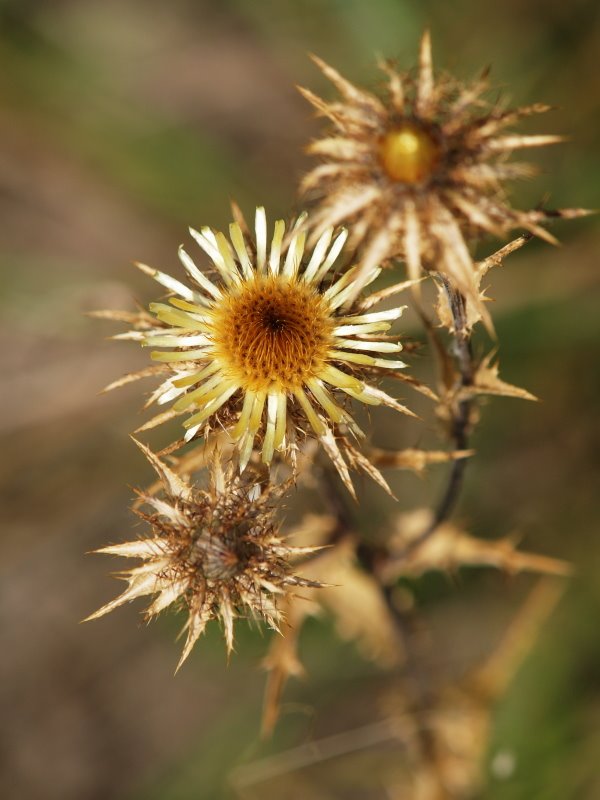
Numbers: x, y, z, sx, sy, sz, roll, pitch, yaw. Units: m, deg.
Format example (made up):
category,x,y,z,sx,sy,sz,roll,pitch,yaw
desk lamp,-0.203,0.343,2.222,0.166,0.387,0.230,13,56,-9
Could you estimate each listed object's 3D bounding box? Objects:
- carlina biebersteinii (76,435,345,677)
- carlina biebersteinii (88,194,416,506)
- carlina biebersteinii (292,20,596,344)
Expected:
category,x,y,z,sx,sy,sz,roll,pitch,yaw
carlina biebersteinii,-0.206,0.307,1.802,0.462,0.525,0.428,8,-70,-12
carlina biebersteinii,-0.075,-0.207,1.908,0.745,0.673,0.248,-16,-91,-10
carlina biebersteinii,0.216,-0.533,1.666,0.560,0.525,0.208,1,-96,-11
